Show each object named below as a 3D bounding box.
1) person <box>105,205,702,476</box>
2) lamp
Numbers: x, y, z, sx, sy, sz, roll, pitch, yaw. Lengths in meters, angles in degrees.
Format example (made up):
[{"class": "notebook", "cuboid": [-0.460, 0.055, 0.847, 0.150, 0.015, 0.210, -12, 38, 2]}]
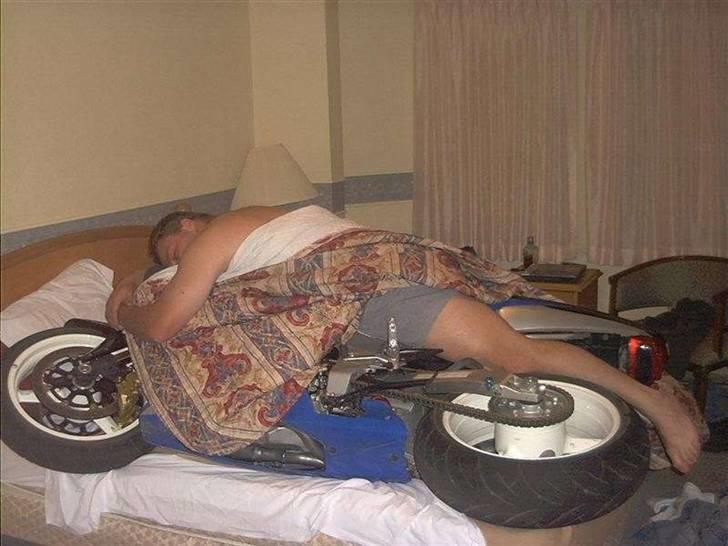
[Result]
[{"class": "person", "cuboid": [0.069, 0.338, 1.982, 1.559, 0.391, 0.802, 11, 25, 10]}, {"class": "lamp", "cuboid": [-0.502, -0.522, 3.571, 0.473, 0.139, 0.500, 1, 42, -7]}]
